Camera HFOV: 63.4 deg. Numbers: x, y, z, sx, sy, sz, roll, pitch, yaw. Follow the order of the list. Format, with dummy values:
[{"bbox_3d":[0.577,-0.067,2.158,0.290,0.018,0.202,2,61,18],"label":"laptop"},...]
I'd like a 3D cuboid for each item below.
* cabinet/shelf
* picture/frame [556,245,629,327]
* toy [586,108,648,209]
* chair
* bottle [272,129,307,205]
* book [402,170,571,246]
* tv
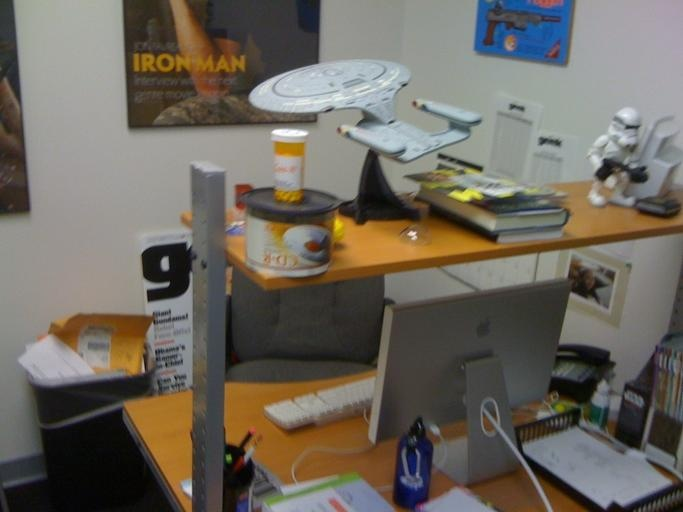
[{"bbox_3d":[0.149,0.173,1.541,1.337,0.965,0.418,-11,24,-24],"label":"cabinet/shelf"},{"bbox_3d":[0.982,0.114,2.130,0.025,0.229,0.246,-10,30,-33],"label":"picture/frame"},{"bbox_3d":[0.847,-0.296,1.675,0.172,0.303,0.136,16,29,41],"label":"toy"},{"bbox_3d":[-0.205,0.283,2.871,0.519,0.670,0.741,0,-2,-8],"label":"chair"},{"bbox_3d":[-0.114,-0.205,1.220,0.076,0.147,0.105,-3,23,-7],"label":"bottle"},{"bbox_3d":[0.376,-0.164,1.519,0.253,0.088,0.294,-14,33,-32],"label":"book"},{"bbox_3d":[0.412,0.383,1.603,0.580,0.569,0.221,-7,23,-17],"label":"tv"}]
